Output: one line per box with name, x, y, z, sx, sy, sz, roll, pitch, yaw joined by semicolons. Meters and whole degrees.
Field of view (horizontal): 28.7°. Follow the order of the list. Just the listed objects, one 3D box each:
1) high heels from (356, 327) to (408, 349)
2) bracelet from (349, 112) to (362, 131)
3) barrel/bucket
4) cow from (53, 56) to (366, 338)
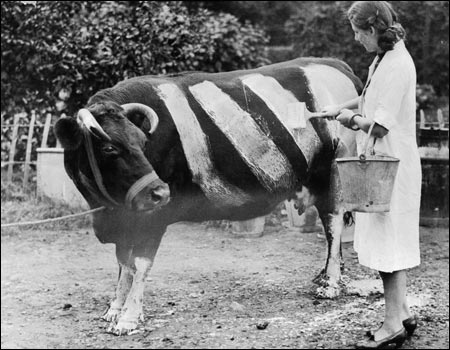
high heels;1.401;1.469;7.926;0.520;0.224;0.178;1;-3;4
bracelet;1.136;-0.483;7.926;0.038;0.146;0.150;-4;7;41
barrel/bucket;1.264;-0.048;7.747;0.482;0.800;0.373;12;17;36
cow;-0.152;0.158;8.582;2.976;2.375;0.919;-6;16;-28
